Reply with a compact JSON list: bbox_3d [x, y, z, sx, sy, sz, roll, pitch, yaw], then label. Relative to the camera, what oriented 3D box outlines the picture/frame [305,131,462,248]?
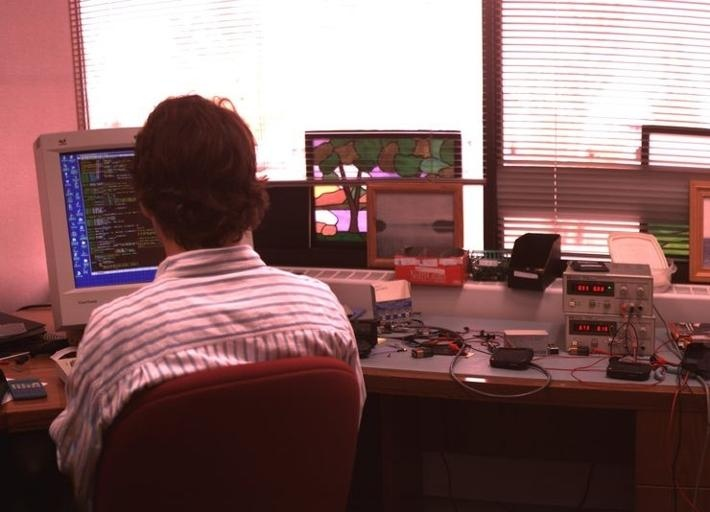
[{"bbox_3d":[0.163,-0.323,3.019,0.647,0.426,0.029,1,4,14],"label":"picture/frame"}]

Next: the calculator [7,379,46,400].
[{"bbox_3d":[-1.054,0.428,2.043,0.109,0.035,0.132,-6,12,-26],"label":"calculator"}]

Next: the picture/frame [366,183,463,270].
[{"bbox_3d":[0.278,-0.147,2.805,0.422,0.366,0.040,0,3,11],"label":"picture/frame"}]
